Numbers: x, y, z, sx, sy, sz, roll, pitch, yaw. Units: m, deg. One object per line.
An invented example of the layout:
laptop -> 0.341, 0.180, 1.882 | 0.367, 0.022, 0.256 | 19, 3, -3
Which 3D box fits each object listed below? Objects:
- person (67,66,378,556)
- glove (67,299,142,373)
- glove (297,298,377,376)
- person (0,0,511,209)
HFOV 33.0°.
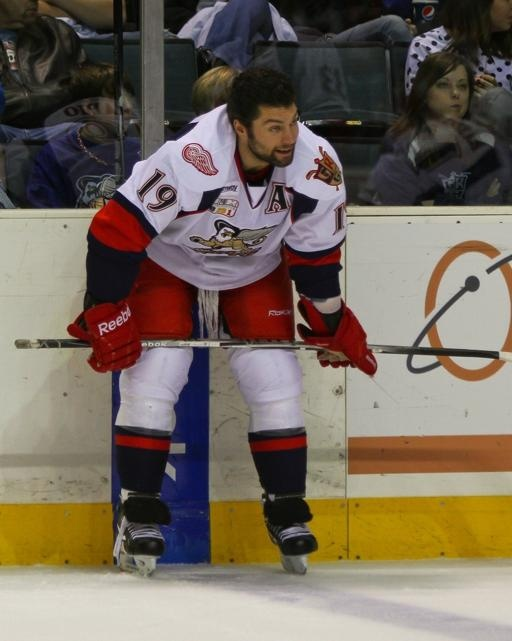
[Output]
person -> -0.076, 0.086, 2.212 | 0.707, 1.410, 0.639 | 5, 21, 12
glove -> -0.360, 0.046, 2.152 | 0.166, 0.084, 0.205 | -24, 52, -39
glove -> 0.221, 0.042, 2.359 | 0.169, 0.272, 0.096 | -11, 49, 46
person -> -0.005, -0.624, 2.584 | 1.108, 0.463, 0.308 | 2, -4, -3
